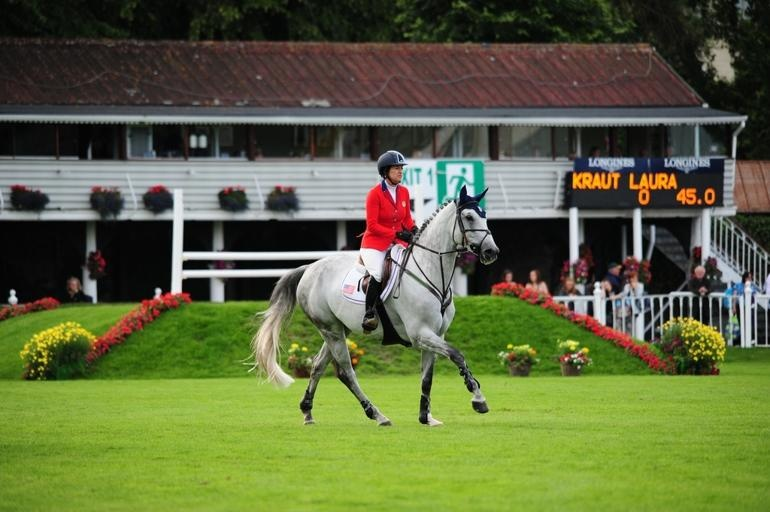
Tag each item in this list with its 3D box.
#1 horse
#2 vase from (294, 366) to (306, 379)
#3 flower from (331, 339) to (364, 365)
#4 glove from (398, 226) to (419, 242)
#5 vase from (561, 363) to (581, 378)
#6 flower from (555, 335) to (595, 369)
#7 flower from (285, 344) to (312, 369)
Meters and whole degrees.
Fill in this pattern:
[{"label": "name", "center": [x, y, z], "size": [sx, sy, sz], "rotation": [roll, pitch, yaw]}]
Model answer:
[{"label": "horse", "center": [-0.380, 1.851, 48.194], "size": [9.301, 6.520, 2.443], "rotation": [-6, -5, 39]}, {"label": "vase", "center": [-2.728, 3.785, 53.727], "size": [0.336, 0.267, 0.348], "rotation": [1, -1, -6]}, {"label": "flower", "center": [-1.050, 3.107, 54.131], "size": [0.941, 0.860, 0.926], "rotation": [20, -8, -20]}, {"label": "glove", "center": [0.692, -0.684, 47.294], "size": [0.395, 0.219, 0.541], "rotation": [27, 50, 32]}, {"label": "vase", "center": [6.118, 3.704, 53.801], "size": [0.429, 0.296, 0.455], "rotation": [6, -5, -43]}, {"label": "flower", "center": [6.232, 3.098, 54.088], "size": [1.029, 0.974, 0.921], "rotation": [6, -3, -8]}, {"label": "flower", "center": [-2.803, 3.244, 53.741], "size": [0.750, 0.807, 0.765], "rotation": [1, -3, -10]}]
